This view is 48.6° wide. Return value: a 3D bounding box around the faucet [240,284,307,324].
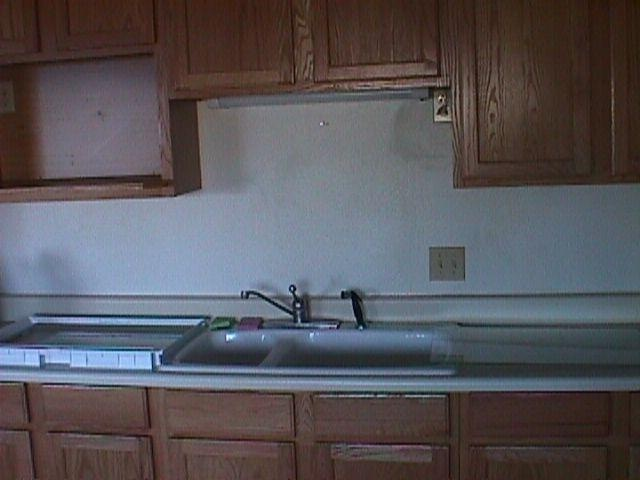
[{"bbox_3d":[-0.214,0.304,3.346,0.306,0.174,0.205,-9,-76,4],"label":"faucet"}]
